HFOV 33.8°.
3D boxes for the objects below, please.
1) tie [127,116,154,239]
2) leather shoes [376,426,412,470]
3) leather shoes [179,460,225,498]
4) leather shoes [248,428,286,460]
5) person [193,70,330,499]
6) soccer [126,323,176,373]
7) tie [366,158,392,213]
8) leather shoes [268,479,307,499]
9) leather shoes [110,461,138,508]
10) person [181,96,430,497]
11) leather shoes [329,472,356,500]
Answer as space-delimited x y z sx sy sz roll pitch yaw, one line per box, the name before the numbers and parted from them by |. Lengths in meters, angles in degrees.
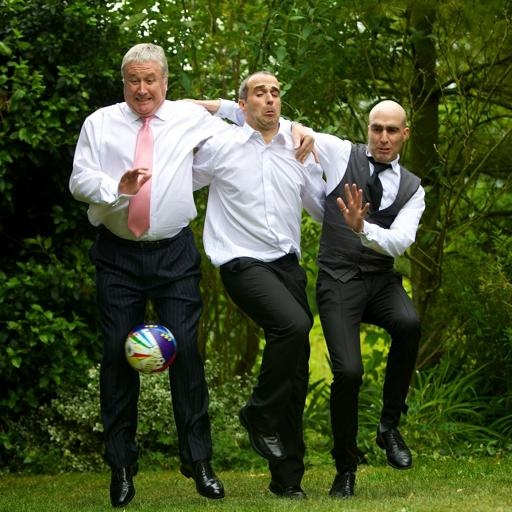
tie | -0.563 -0.353 3.937 0.112 0.482 0.146 -1 9 -26
leather shoes | 0.669 0.934 4.216 0.108 0.108 0.276 -23 34 -8
leather shoes | -0.249 1.025 3.869 0.137 0.158 0.297 4 -5 -33
leather shoes | 0.047 0.901 4.061 0.195 0.083 0.088 48 21 17
person | 0.019 0.108 4.125 0.627 2.069 0.830 2 12 -17
soccer | -0.483 0.427 3.851 0.225 0.212 0.249 2 6 -10
tie | 0.619 -0.357 4.278 0.097 0.277 0.107 1 8 -1
leather shoes | 0.154 1.150 4.167 0.066 0.081 0.183 2 -5 -40
leather shoes | -0.611 1.039 3.894 0.075 0.093 0.219 -2 8 4
person | 0.000 0.092 4.178 0.760 2.053 0.628 -3 -6 6
leather shoes | 0.411 1.099 4.070 0.125 0.100 0.236 -2 -1 4
